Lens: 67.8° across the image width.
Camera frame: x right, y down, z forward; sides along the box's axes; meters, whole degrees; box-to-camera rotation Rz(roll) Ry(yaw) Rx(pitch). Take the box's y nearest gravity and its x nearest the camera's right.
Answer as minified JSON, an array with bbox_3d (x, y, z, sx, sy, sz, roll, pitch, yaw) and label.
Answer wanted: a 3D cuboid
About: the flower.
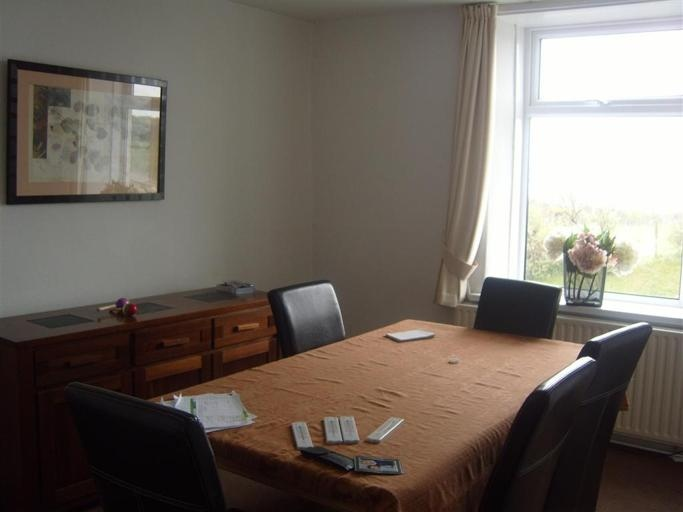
[{"bbox_3d":[1.806,-0.030,3.625,0.420,0.285,0.348,-8,11,-23],"label":"flower"}]

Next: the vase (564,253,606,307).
[{"bbox_3d":[1.679,0.163,3.535,0.314,0.496,0.326,2,-1,18],"label":"vase"}]
